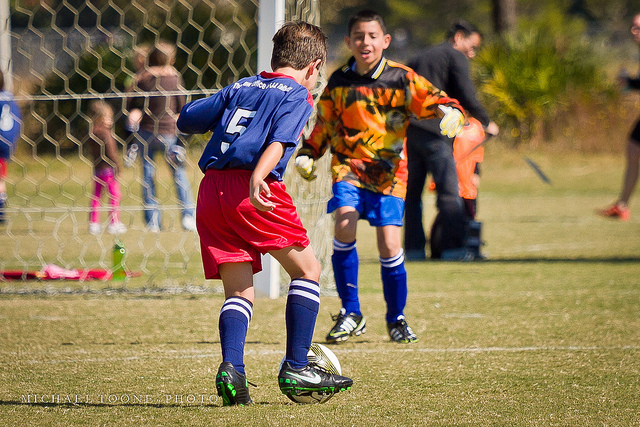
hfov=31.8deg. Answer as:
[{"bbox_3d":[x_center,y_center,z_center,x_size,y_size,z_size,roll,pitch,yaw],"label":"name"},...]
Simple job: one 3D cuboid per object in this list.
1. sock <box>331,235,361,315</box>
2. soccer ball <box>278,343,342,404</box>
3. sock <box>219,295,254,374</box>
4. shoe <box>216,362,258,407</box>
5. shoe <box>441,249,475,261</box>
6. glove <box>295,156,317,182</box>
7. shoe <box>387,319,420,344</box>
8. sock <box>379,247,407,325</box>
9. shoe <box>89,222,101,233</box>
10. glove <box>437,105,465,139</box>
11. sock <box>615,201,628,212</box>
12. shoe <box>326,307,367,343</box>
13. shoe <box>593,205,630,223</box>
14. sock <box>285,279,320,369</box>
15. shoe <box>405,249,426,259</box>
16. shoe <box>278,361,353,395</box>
[{"bbox_3d":[0.242,0.518,10.514,0.297,0.914,0.263,1,-10,-25],"label":"sock"},{"bbox_3d":[-0.089,1.344,9.453,0.487,0.496,0.460,-1,-30,-1],"label":"soccer ball"},{"bbox_3d":[-0.726,1.054,9.458,0.270,0.699,0.555,-1,-10,5],"label":"sock"},{"bbox_3d":[-0.698,1.407,9.175,0.294,0.381,0.144,-2,6,-13],"label":"shoe"},{"bbox_3d":[1.561,0.469,12.676,0.358,0.124,0.086,0,6,9],"label":"shoe"},{"bbox_3d":[-0.126,-0.417,10.171,0.069,0.210,0.181,-32,-4,41],"label":"glove"},{"bbox_3d":[0.757,1.087,10.280,0.281,0.139,0.163,4,6,40],"label":"shoe"},{"bbox_3d":[0.682,0.673,10.354,0.235,0.698,0.176,-1,5,-2],"label":"sock"},{"bbox_3d":[-2.701,0.175,13.500,0.136,0.129,0.136,2,-2,-1],"label":"shoe"},{"bbox_3d":[1.176,-0.828,10.078,0.211,0.277,0.081,-1,6,-4],"label":"glove"},{"bbox_3d":[3.625,-0.086,13.511,0.113,0.122,0.032,-1,4,19],"label":"sock"},{"bbox_3d":[0.250,1.041,10.343,0.302,0.313,0.347,-1,-10,0],"label":"shoe"},{"bbox_3d":[3.664,0.000,14.096,0.415,0.322,1.125,1,6,16],"label":"shoe"},{"bbox_3d":[-0.165,0.976,9.420,0.273,0.803,0.274,-3,-13,28],"label":"sock"},{"bbox_3d":[1.095,0.468,12.884,0.187,0.105,0.064,1,16,2],"label":"shoe"},{"bbox_3d":[-0.023,1.370,9.380,0.599,0.281,0.218,0,-8,-5],"label":"shoe"}]
